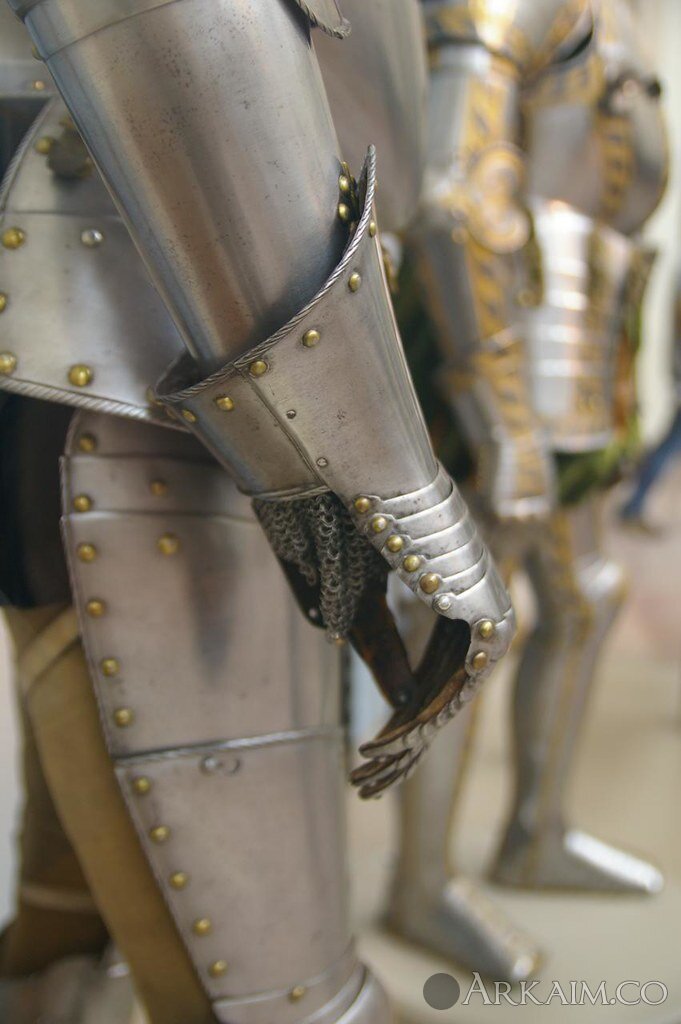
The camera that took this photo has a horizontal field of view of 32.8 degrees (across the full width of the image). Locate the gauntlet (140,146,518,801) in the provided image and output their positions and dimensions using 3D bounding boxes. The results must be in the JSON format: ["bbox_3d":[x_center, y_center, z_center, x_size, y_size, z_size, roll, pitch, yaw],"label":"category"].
[{"bbox_3d":[0.002,-0.004,0.729,0.165,0.321,0.272,-19,55,-5],"label":"gauntlet"}]
